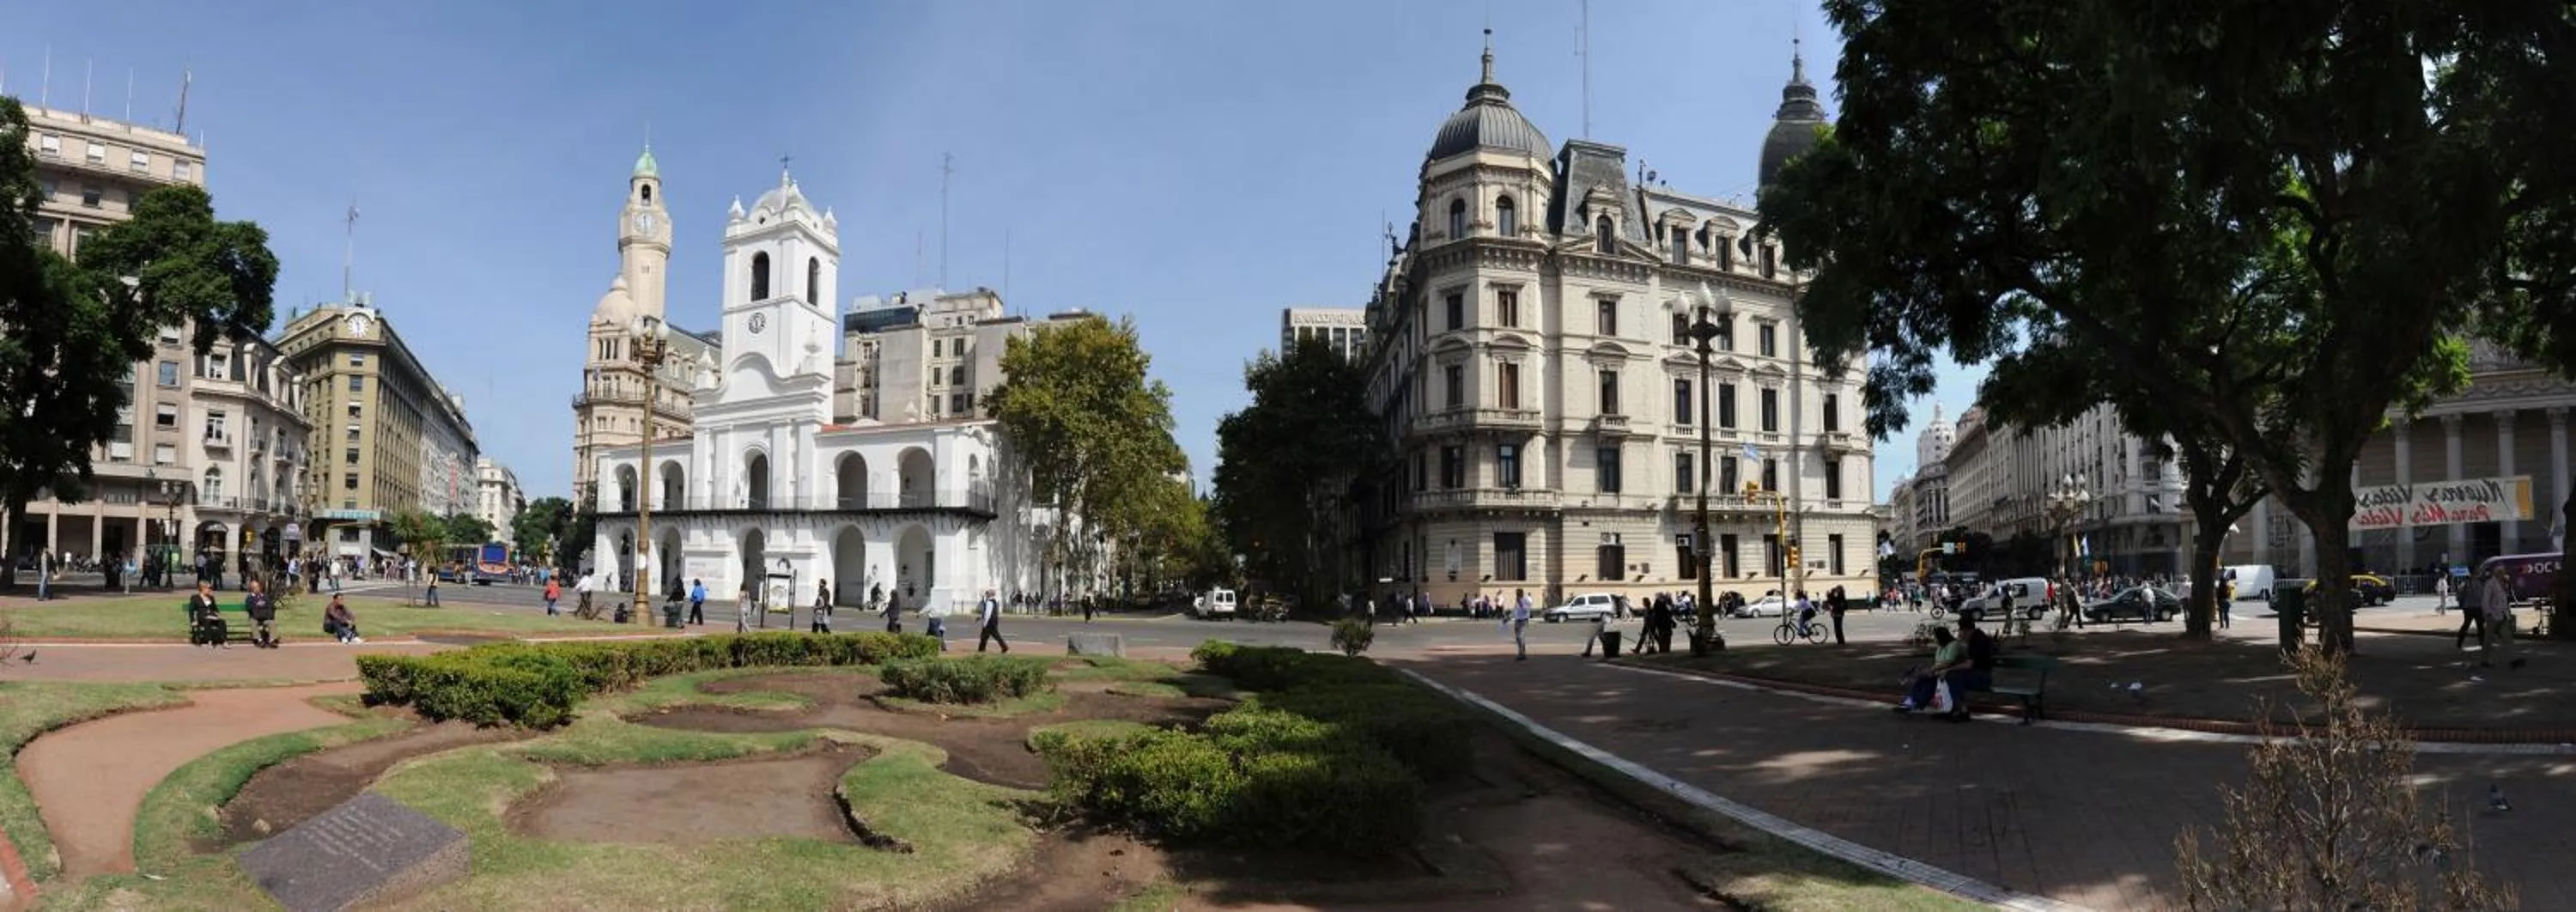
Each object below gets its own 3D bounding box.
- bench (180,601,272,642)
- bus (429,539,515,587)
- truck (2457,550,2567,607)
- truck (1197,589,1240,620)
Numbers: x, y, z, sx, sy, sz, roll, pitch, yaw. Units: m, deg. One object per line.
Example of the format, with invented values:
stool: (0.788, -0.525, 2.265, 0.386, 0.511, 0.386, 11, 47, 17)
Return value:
bench: (-76.213, 11.949, 127.901, 4.064, 1.753, 1.548, 2, 5, -31)
bus: (-88.492, 11.380, 192.175, 19.854, 4.058, 5.626, 1, -3, 40)
truck: (93.456, 9.419, 135.492, 11.276, 3.865, 6.327, -2, -3, 29)
truck: (-6.365, 13.237, 158.990, 2.666, 1.418, 3.573, 1, -1, -11)
